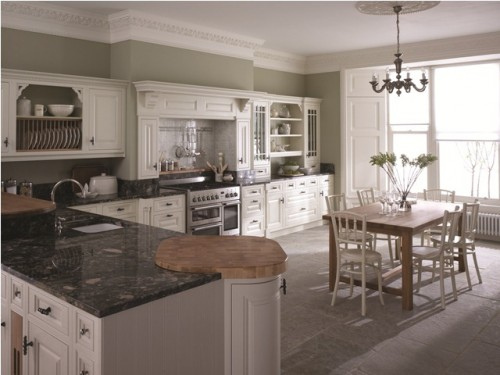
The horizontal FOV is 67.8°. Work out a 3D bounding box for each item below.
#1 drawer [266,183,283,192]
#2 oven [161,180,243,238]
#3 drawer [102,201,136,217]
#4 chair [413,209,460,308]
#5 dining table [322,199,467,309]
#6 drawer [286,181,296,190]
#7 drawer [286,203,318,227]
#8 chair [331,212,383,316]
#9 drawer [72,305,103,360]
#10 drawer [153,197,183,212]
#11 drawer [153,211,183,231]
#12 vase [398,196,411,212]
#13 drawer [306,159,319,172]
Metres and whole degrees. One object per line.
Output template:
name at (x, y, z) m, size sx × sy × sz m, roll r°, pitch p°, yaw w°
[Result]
drawer at (0.450, 0.005, 6.825) m, size 0.272 × 0.168 × 0.150 m, roll -4°, pitch 7°, yaw -39°
oven at (-0.714, 0.421, 6.004) m, size 0.684 × 0.961 × 1.034 m, roll 10°, pitch 14°, yaw 42°
drawer at (-1.722, 0.295, 4.904) m, size 0.034 × 0.199 × 0.479 m, roll 8°, pitch 11°, yaw 43°
chair at (2.124, 0.784, 4.291) m, size 0.532 × 0.992 × 0.467 m, roll 8°, pitch 6°, yaw -23°
dining table at (1.952, 0.766, 4.808) m, size 1.154 × 0.848 × 1.906 m, roll 2°, pitch 4°, yaw 40°
drawer at (0.780, -0.022, 7.107) m, size 0.224 × 0.153 × 0.119 m, roll -3°, pitch 7°, yaw -43°
drawer at (0.937, 0.477, 7.534) m, size 0.843 × 0.350 × 0.463 m, roll -12°, pitch 21°, yaw -28°
chair at (1.225, 0.837, 4.253) m, size 0.615 × 1.066 × 0.599 m, roll 0°, pitch 2°, yaw -4°
drawer at (-0.787, 0.727, 1.910) m, size 0.236 × 0.221 × 0.142 m, roll 4°, pitch 5°, yaw 36°
drawer at (-1.169, 0.250, 5.286) m, size 0.252 × 0.114 × 0.209 m, roll -2°, pitch 2°, yaw -44°
drawer at (-1.154, 0.521, 5.299) m, size 0.469 × 0.293 × 0.055 m, roll -8°, pitch 11°, yaw -41°
vase at (1.994, 0.206, 4.791) m, size 0.196 × 0.217 × 0.199 m, roll 3°, pitch 8°, yaw 40°
drawer at (1.313, -0.463, 7.898) m, size 0.281 × 0.246 × 0.144 m, roll -2°, pitch 8°, yaw -24°
